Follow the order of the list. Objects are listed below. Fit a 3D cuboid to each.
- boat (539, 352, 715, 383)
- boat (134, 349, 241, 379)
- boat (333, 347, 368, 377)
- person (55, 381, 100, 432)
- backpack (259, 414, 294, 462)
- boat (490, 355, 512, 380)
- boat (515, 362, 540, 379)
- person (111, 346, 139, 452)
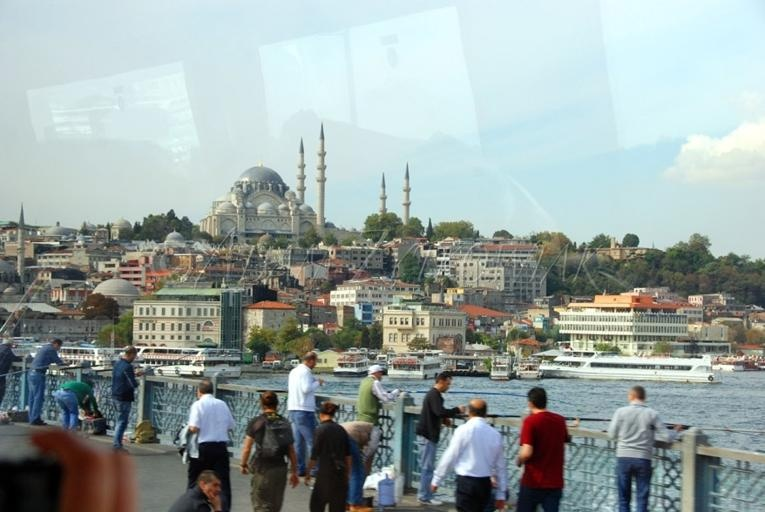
[{"bbox_3d":[11.042,5.151,57.715,4.796,0.940,1.240,3,-5,17],"label":"boat"},{"bbox_3d":[-8.189,4.449,53.587,4.059,1.186,6.056,0,-4,-10],"label":"boat"},{"bbox_3d":[-1.348,4.829,56.257,0.866,0.875,3.273,-1,-6,8],"label":"boat"},{"bbox_3d":[-3.272,1.591,13.415,0.375,0.516,0.732,-1,-4,6],"label":"person"},{"bbox_3d":[-0.881,1.522,10.761,0.226,0.327,0.280,-11,10,-25],"label":"backpack"},{"bbox_3d":[5.434,5.172,58.290,0.665,0.759,2.844,-1,-4,6],"label":"boat"},{"bbox_3d":[6.728,5.361,58.698,1.211,0.744,1.473,-1,-4,6],"label":"boat"},{"bbox_3d":[-2.570,1.403,12.544,0.235,1.000,0.498,1,-4,-12],"label":"person"}]
